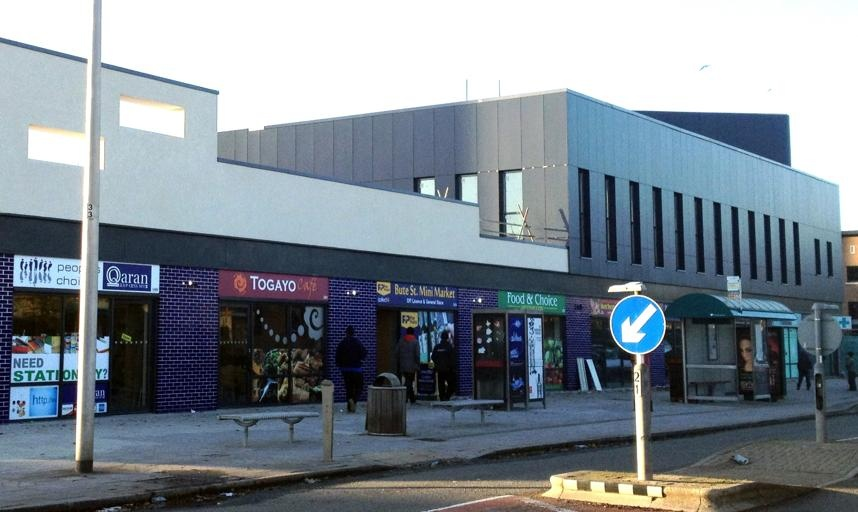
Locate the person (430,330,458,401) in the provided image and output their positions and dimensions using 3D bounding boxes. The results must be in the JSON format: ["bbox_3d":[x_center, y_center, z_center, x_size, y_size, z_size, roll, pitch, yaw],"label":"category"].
[{"bbox_3d":[0.486,3.943,30.675,0.759,2.481,0.833,-1,10,-25],"label":"person"}]
